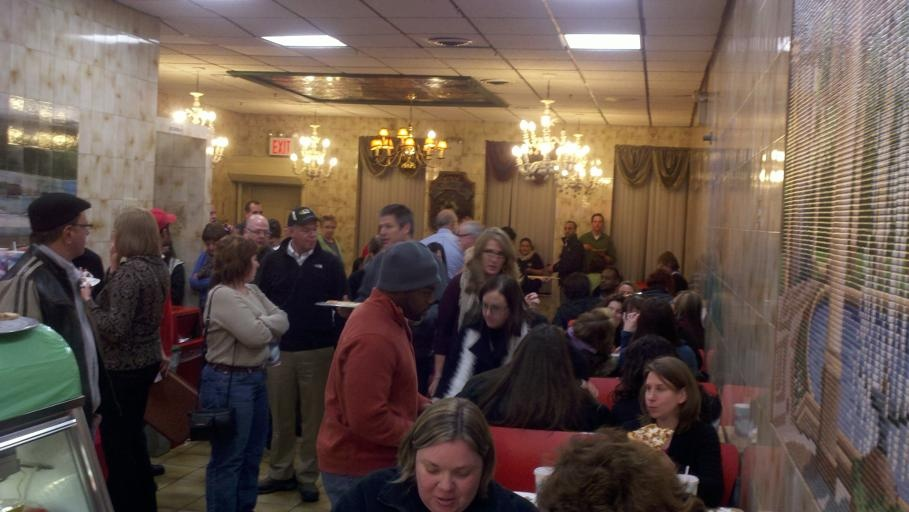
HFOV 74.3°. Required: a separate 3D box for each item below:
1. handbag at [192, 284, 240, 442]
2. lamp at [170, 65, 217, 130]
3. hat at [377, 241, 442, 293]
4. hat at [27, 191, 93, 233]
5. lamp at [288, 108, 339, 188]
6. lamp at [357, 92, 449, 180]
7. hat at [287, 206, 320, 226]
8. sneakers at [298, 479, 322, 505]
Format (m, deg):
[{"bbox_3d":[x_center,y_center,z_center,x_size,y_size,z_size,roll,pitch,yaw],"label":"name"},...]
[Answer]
[{"bbox_3d":[-1.835,0.851,4.725,0.390,1.148,0.185,12,-4,-43],"label":"handbag"},{"bbox_3d":[-5.006,-3.082,11.821,0.744,1.001,0.770,16,17,39],"label":"lamp"},{"bbox_3d":[-0.281,0.039,3.615,0.415,0.256,0.289,-2,21,-4],"label":"hat"},{"bbox_3d":[-2.700,-0.375,4.140,0.386,0.172,0.277,-20,19,-27],"label":"hat"},{"bbox_3d":[-3.397,-2.739,14.951,1.233,1.718,3.052,1,7,-15],"label":"lamp"},{"bbox_3d":[-0.883,-2.414,12.140,1.452,1.355,1.498,0,5,-26],"label":"lamp"},{"bbox_3d":[-1.467,-0.400,5.734,0.212,0.147,0.285,-3,-9,-44],"label":"hat"},{"bbox_3d":[-1.338,2.195,5.586,0.238,0.155,0.407,3,-7,-11],"label":"sneakers"}]
